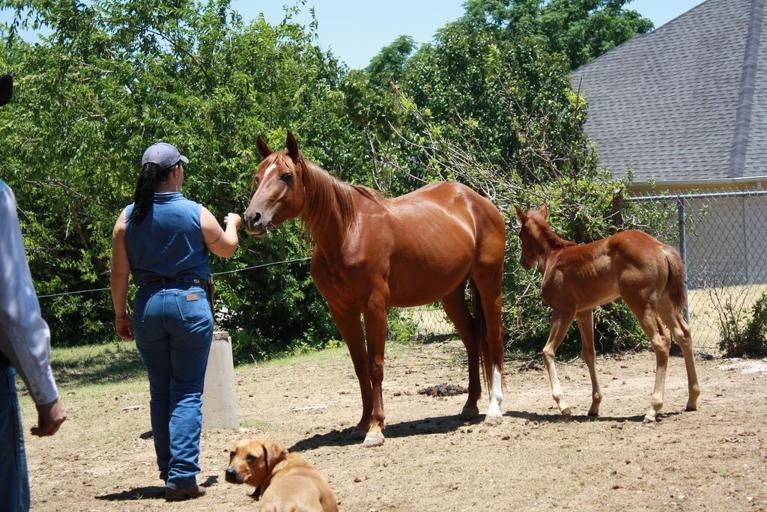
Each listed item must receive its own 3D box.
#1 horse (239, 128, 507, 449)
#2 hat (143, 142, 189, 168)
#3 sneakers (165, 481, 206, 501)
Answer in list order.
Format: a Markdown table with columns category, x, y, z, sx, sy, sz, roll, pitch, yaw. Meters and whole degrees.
| category | x | y | z | sx | sy | sz | roll | pitch | yaw |
| --- | --- | --- | --- | --- | --- | --- | --- | --- | --- |
| horse | -0.309 | 0.687 | 15.555 | 5.176 | 4.912 | 1.756 | -2 | 0 | -37 |
| hat | -2.873 | -1.356 | 12.045 | 0.491 | 0.302 | 0.358 | -20 | 23 | -37 |
| sneakers | -2.582 | 3.075 | 11.948 | 0.471 | 0.225 | 0.188 | -1 | 4 | -23 |
